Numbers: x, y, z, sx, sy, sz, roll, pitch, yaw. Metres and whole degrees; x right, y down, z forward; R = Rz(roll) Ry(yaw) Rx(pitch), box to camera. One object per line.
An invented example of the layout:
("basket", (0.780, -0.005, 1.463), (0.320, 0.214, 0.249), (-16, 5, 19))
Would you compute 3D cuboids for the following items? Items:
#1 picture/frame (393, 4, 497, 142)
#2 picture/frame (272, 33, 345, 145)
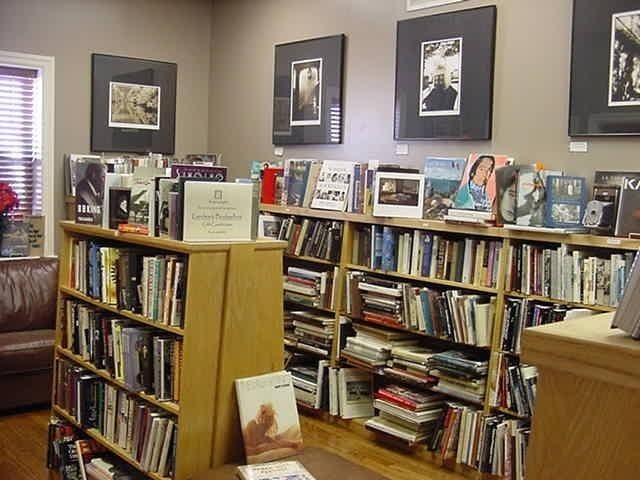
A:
("picture/frame", (1.024, -1.319, 3.964), (1.095, 1.341, 0.122), (3, 3, 43))
("picture/frame", (-0.123, -1.448, 4.985), (0.960, 1.021, 0.156), (10, 13, 41))
